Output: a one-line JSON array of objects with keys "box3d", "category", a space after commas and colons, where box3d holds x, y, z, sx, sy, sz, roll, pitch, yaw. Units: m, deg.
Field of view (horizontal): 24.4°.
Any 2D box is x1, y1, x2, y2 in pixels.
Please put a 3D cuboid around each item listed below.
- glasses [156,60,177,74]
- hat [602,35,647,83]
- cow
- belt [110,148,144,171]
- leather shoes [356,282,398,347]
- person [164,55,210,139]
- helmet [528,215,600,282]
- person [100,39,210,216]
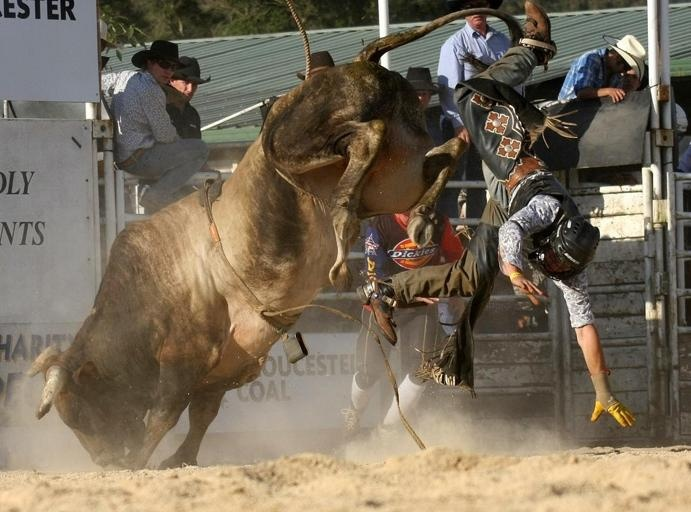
[{"box3d": [-1.748, -1.903, 15.813, 0.127, 0.039, 0.128, 14, -36, -39], "category": "glasses"}, {"box3d": [2.721, -1.946, 15.307, 0.317, 0.548, 0.353, -17, 20, -40], "category": "hat"}, {"box3d": [-0.600, 0.017, 13.741, 4.954, 2.088, 1.370, -56, -18, 13], "category": "cow"}, {"box3d": [-1.978, -0.885, 14.715, 0.262, 0.126, 0.183, -32, -4, -7], "category": "belt"}, {"box3d": [0.361, 0.436, 13.534, 0.212, 0.598, 0.262, -6, -34, -35], "category": "leather shoes"}, {"box3d": [-1.665, -1.560, 16.260, 0.564, 0.915, 0.547, 4, -4, -5], "category": "person"}, {"box3d": [1.780, -0.061, 12.920, 0.562, 0.452, 0.568, -39, 8, 8], "category": "helmet"}, {"box3d": [-1.710, -1.241, 15.158, 0.968, 1.496, 0.992, 2, 4, -5], "category": "person"}]
